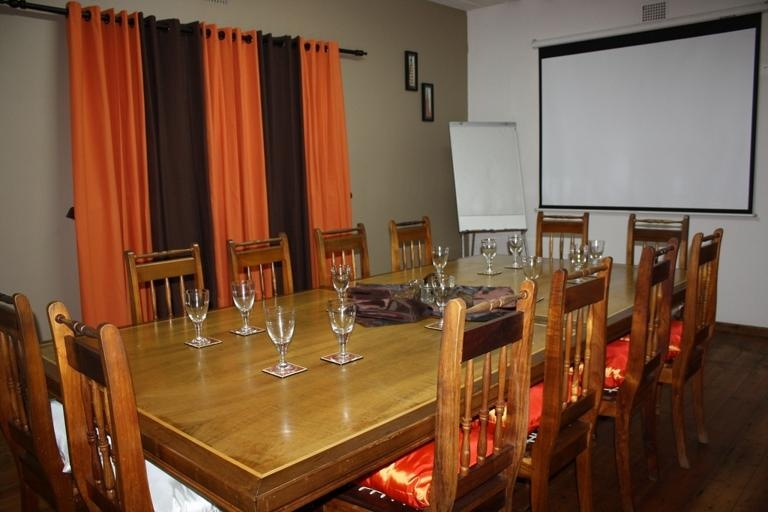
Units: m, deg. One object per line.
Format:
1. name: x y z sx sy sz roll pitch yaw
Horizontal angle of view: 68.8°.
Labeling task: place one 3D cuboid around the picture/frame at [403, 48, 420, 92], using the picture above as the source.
1. picture/frame: 0.298 -1.895 5.778 0.046 0.398 0.233 4 11 37

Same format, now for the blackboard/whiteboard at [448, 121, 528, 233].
1. blackboard/whiteboard: 1.090 -0.912 5.898 0.767 1.117 0.032 2 -21 -5

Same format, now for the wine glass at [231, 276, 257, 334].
1. wine glass: -0.642 0.239 2.588 0.130 0.231 0.134 -4 8 -9
